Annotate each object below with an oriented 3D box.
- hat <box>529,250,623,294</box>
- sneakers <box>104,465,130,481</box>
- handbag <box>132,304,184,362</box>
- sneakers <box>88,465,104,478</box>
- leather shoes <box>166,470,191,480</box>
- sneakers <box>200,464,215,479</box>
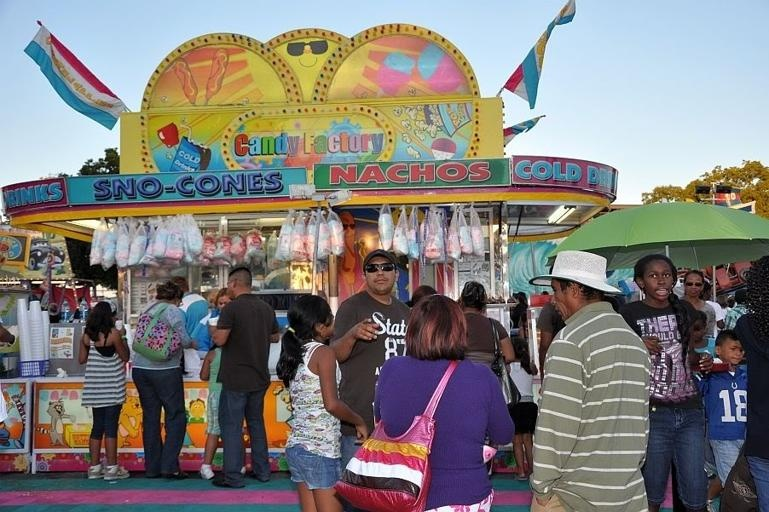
[{"bbox_3d":[1.658,0.129,5.730,0.531,0.218,0.472,11,-3,15],"label":"hat"},{"bbox_3d":[-3.579,2.897,9.114,0.381,0.172,0.151,3,1,-24],"label":"sneakers"},{"bbox_3d":[-2.944,1.032,8.978,0.574,0.744,0.367,19,-20,-3],"label":"handbag"},{"bbox_3d":[-3.875,2.907,9.190,0.113,0.125,0.290,0,-5,2],"label":"sneakers"},{"bbox_3d":[-2.745,2.930,9.099,0.274,0.115,0.108,2,-2,-32],"label":"leather shoes"},{"bbox_3d":[-2.345,2.862,9.022,0.105,0.114,0.266,1,-1,-7],"label":"sneakers"}]
